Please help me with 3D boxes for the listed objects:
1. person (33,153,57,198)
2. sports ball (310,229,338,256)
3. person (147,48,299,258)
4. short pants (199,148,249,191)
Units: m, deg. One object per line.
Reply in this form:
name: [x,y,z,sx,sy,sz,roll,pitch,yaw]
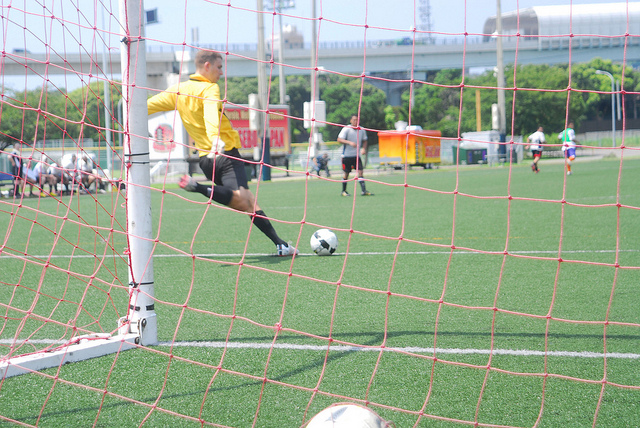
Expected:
person: [-6.029,-0.882,20.337,0.474,0.796,0.313,16,-8,8]
sports ball: [0.015,0.341,10.451,0.279,0.274,0.276,-33,-3,-2]
person: [-1.130,-0.598,9.824,0.879,2.348,1.503,0,7,23]
short pants: [-1.075,-0.496,10.006,0.527,0.458,0.400,-2,7,3]
